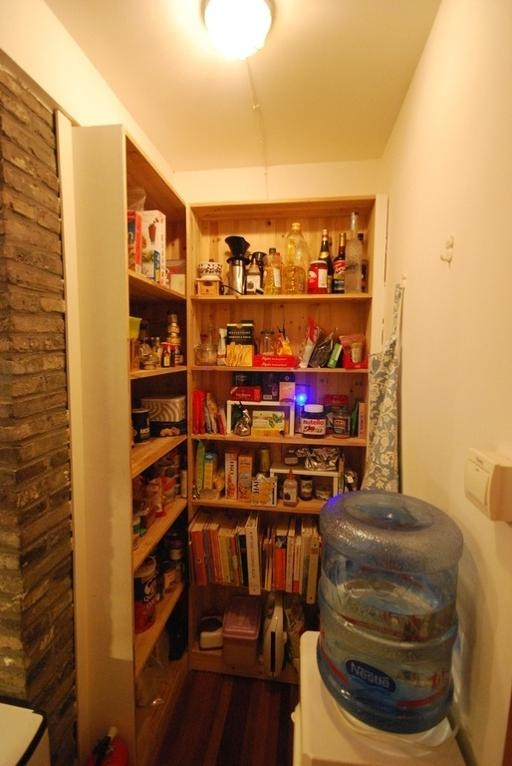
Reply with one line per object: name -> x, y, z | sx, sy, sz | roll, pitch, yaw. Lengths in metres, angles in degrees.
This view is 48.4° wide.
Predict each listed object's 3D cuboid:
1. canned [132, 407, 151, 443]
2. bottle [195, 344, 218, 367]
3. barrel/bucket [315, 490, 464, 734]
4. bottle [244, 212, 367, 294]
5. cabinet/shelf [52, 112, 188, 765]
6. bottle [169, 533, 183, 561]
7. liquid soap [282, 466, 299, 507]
canned -> -0.400, 0.162, 2.052 | 0.085, 0.103, 0.091 | -1, 0, 0
bottle -> -0.201, -0.105, 2.257 | 0.070, 0.084, 0.088 | -2, 3, -37
barrel/bucket -> 0.302, 0.506, 1.371 | 0.296, 0.416, 0.407 | -1, 13, -17
bottle -> 0.200, -0.490, 2.209 | 0.473, 0.320, 0.305 | 3, 12, -2
cabinet/shelf -> -0.419, 0.201, 1.952 | 0.344, 1.955, 0.821 | 2, 12, -2
bottle -> -0.317, 0.661, 2.297 | 0.078, 0.084, 0.082 | 0, -2, -12
liquid soap -> 0.134, 0.401, 2.209 | 0.064, 0.136, 0.077 | 4, 12, 4
